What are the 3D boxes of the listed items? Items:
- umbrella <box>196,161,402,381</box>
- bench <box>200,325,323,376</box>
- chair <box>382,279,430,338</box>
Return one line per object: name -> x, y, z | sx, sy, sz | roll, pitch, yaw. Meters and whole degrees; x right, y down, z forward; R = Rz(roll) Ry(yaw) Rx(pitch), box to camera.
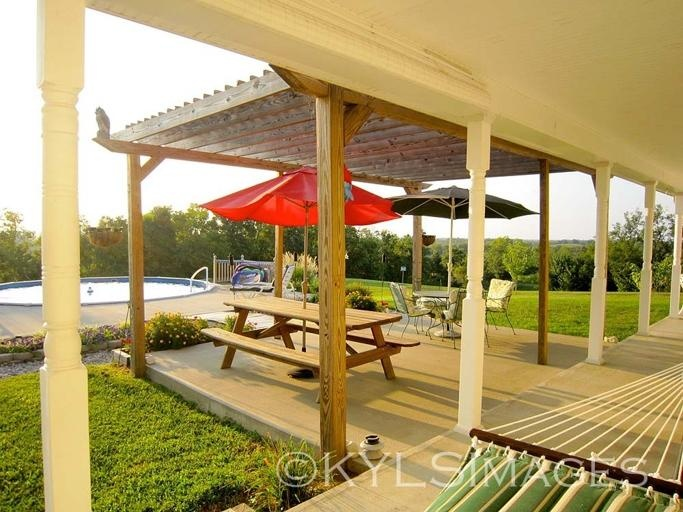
umbrella -> -0.605, 0.251, 5.412 | 2.405, 2.082, 2.417 | 0, 1, 12
bench -> -0.783, 1.027, 4.897 | 0.384, 0.300, 1.854 | -8, 9, -43
chair -> 1.115, 0.809, 7.632 | 0.807, 1.142, 0.783 | -2, 2, -11
